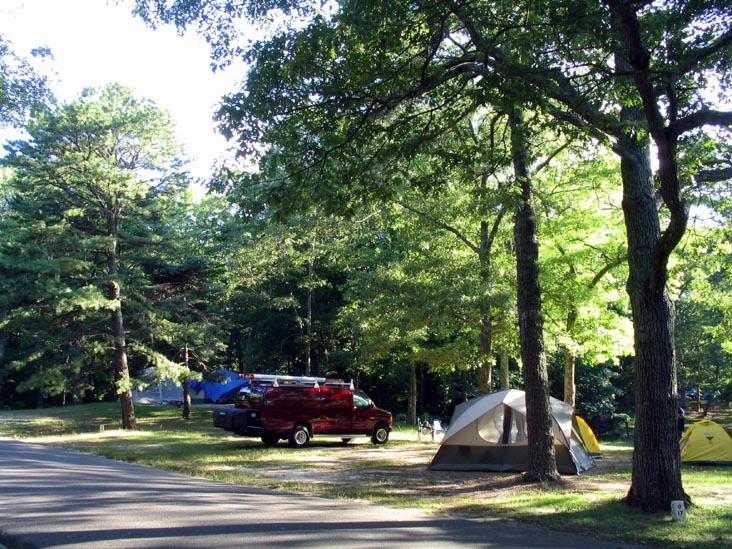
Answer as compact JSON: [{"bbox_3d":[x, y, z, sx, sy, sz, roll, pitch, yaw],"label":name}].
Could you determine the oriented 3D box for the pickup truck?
[{"bbox_3d":[-1.834,4.906,28.784,4.761,1.959,1.991,3,-7,-38],"label":"pickup truck"}]
